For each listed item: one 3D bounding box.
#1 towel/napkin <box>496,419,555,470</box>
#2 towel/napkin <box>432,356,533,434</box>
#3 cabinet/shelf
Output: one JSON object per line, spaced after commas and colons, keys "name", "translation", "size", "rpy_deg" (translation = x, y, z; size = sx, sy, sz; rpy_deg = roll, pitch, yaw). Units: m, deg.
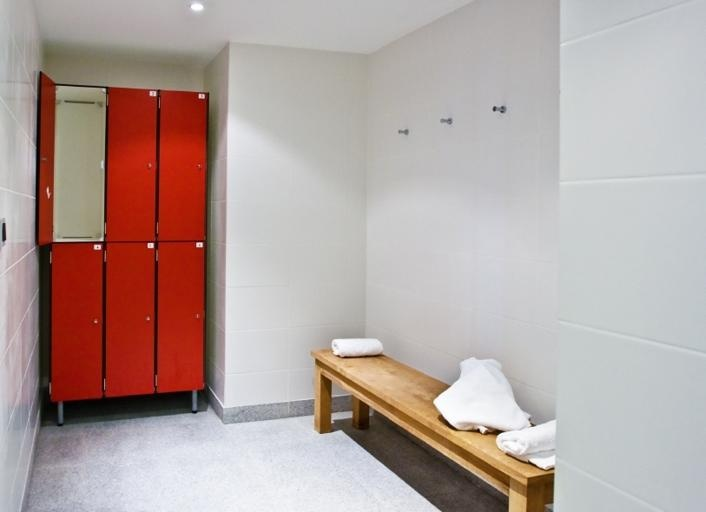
{"name": "towel/napkin", "translation": [0.751, 0.765, 2.179], "size": [0.186, 0.068, 0.190], "rpy_deg": [0, 0, -30]}
{"name": "towel/napkin", "translation": [0.599, 0.669, 2.472], "size": [0.321, 0.108, 0.348], "rpy_deg": [-11, 39, 3]}
{"name": "cabinet/shelf", "translation": [-1.761, -0.020, 4.067], "size": [1.204, 2.480, 0.678], "rpy_deg": [-1, -1, -32]}
